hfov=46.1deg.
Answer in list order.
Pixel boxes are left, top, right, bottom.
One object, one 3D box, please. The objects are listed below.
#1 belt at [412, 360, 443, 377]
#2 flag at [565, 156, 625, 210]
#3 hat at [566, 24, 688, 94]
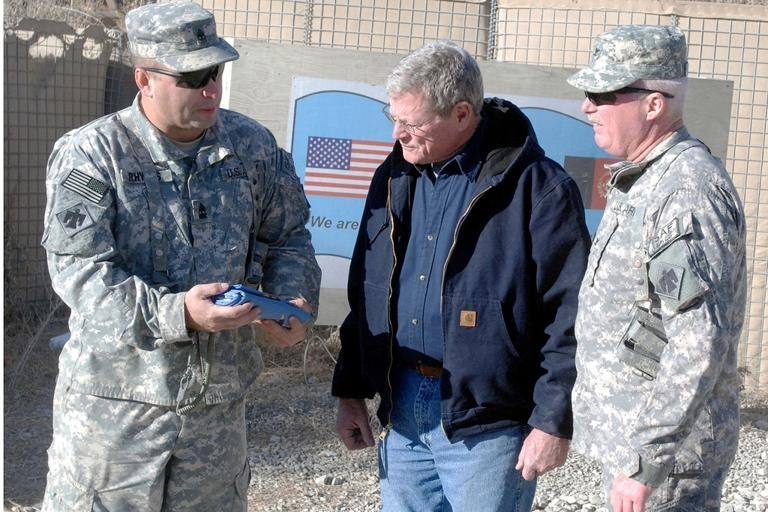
[{"bbox_3d":[0.263,0.656,5.176,0.137,0.070,0.034,9,7,15],"label":"belt"},{"bbox_3d":[1.928,-0.655,8.237,0.001,0.507,0.496,8,-1,-42],"label":"flag"},{"bbox_3d":[1.356,-1.119,5.052,0.652,0.328,0.492,-4,20,-4],"label":"hat"}]
